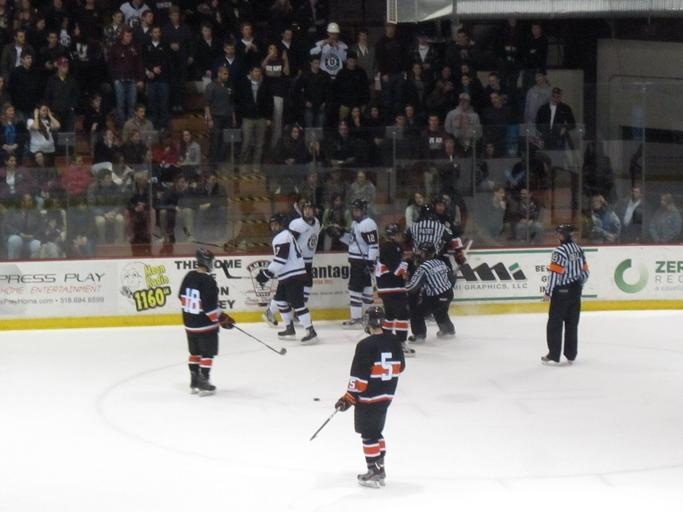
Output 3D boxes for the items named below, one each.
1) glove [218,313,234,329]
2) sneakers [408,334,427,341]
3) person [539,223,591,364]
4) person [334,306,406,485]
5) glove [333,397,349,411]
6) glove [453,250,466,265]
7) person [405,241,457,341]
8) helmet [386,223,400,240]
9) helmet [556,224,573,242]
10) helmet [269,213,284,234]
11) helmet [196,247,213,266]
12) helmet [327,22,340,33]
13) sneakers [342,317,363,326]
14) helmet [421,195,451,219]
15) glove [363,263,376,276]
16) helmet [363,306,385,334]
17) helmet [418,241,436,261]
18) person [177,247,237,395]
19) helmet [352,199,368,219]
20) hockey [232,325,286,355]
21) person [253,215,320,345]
[{"bbox_3d":[-1.681,0.964,16.286,0.207,0.286,0.328,0,7,11],"label":"glove"},{"bbox_3d":[1.298,1.407,18.668,0.280,0.146,0.108,4,7,-2],"label":"sneakers"},{"bbox_3d":[3.539,0.604,17.440,0.683,2.173,0.537,0,7,13],"label":"person"},{"bbox_3d":[0.400,1.949,13.861,0.810,1.887,0.342,-1,7,0],"label":"person"},{"bbox_3d":[0.035,1.877,13.843,0.190,0.216,0.228,-1,7,-2],"label":"glove"},{"bbox_3d":[2.102,0.049,19.327,0.166,0.239,0.095,0,46,27],"label":"glove"},{"bbox_3d":[1.544,0.603,18.783,0.773,1.753,0.770,-7,21,-16],"label":"person"},{"bbox_3d":[0.849,-0.375,17.966,0.193,0.249,0.223,9,-1,36],"label":"helmet"},{"bbox_3d":[3.523,-0.361,17.414,0.198,0.272,0.261,-3,15,-13],"label":"helmet"},{"bbox_3d":[-1.070,-0.558,18.987,0.235,0.352,0.328,0,-4,3],"label":"helmet"},{"bbox_3d":[-2.071,0.029,16.802,0.170,0.238,0.208,-22,-2,-25],"label":"helmet"},{"bbox_3d":[-0.142,-4.555,22.087,0.226,0.181,0.330,0,20,-8],"label":"helmet"},{"bbox_3d":[0.215,1.190,19.795,0.352,0.170,0.140,1,5,2],"label":"sneakers"},{"bbox_3d":[1.748,-0.891,19.905,0.356,0.380,0.495,6,6,-43],"label":"helmet"},{"bbox_3d":[0.523,0.254,19.526,0.142,0.212,0.185,-3,-5,3],"label":"glove"},{"bbox_3d":[0.422,0.816,14.152,0.259,0.403,0.376,1,11,-7],"label":"helmet"},{"bbox_3d":[1.449,-0.082,18.459,0.219,0.294,0.289,-4,22,-11],"label":"helmet"},{"bbox_3d":[-1.996,0.994,16.291,0.703,2.110,0.394,-2,7,-5],"label":"person"},{"bbox_3d":[0.325,-0.794,19.364,0.236,0.379,0.315,-1,7,0],"label":"helmet"},{"bbox_3d":[-1.385,1.469,18.748,0.847,0.181,0.058,35,34,-18],"label":"hockey"},{"bbox_3d":[-0.910,0.390,18.945,0.904,2.163,0.925,-2,7,-9],"label":"person"}]
